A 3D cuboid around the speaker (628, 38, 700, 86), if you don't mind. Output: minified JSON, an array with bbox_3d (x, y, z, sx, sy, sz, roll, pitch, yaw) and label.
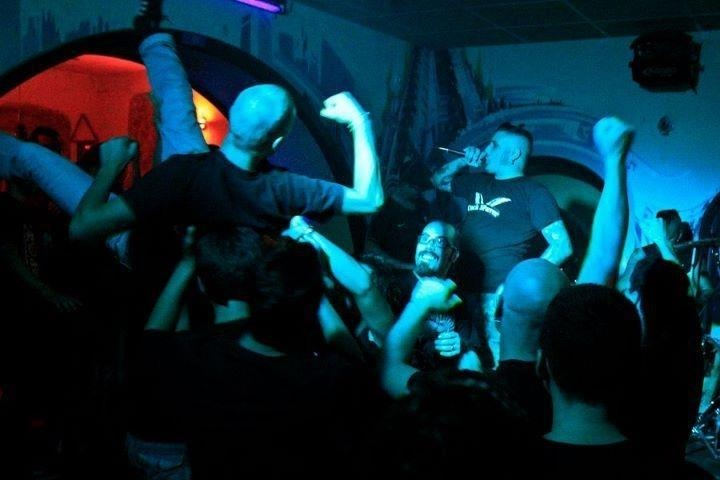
[{"bbox_3d":[2.511,-1.415,5.658,0.557,0.469,0.550,-3,-2,26],"label":"speaker"}]
